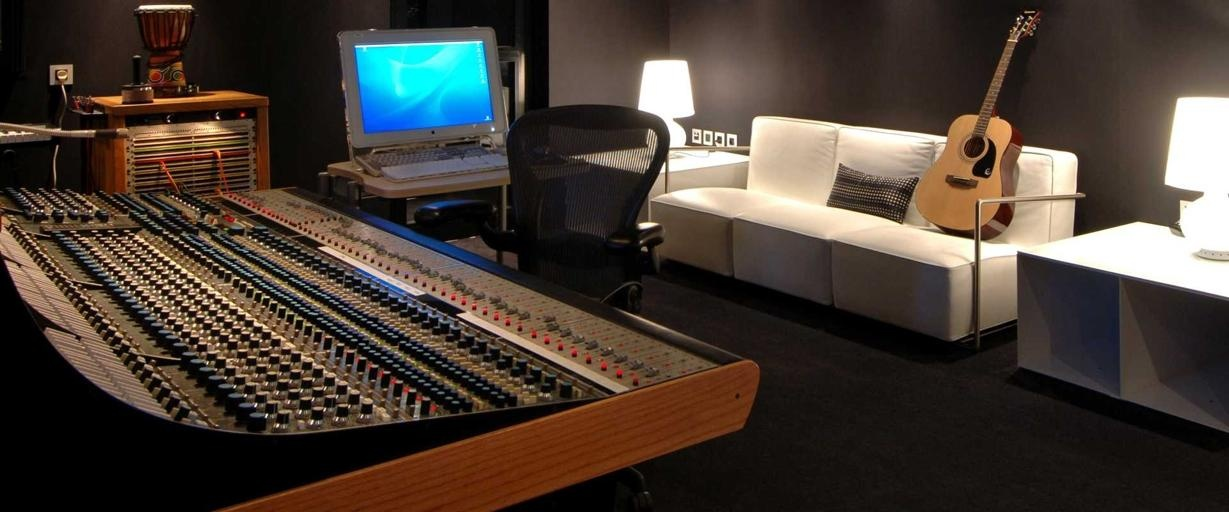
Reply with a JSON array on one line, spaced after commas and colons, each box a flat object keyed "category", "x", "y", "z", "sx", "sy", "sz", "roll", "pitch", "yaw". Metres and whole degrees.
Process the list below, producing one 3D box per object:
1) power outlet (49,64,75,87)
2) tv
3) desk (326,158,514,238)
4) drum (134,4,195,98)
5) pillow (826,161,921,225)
[{"category": "power outlet", "x": -4.868, "y": -1.602, "z": 6.918, "sx": 0.259, "sy": 0.181, "sz": 0.055, "roll": -5, "pitch": 12, "yaw": -27}, {"category": "tv", "x": -1.533, "y": -1.364, "z": 6.403, "sx": 1.509, "sy": 0.844, "sz": 0.107, "roll": -7, "pitch": 5, "yaw": -20}, {"category": "desk", "x": -1.464, "y": -0.582, "z": 6.394, "sx": 1.055, "sy": 0.627, "sz": 1.025, "roll": -6, "pitch": 12, "yaw": -41}, {"category": "drum", "x": -3.808, "y": -1.786, "z": 6.777, "sx": 0.454, "sy": 0.728, "sz": 0.550, "roll": -10, "pitch": 26, "yaw": -23}, {"category": "pillow", "x": 2.463, "y": -0.588, "z": 7.349, "sx": 0.830, "sy": 0.490, "sz": 0.215, "roll": 17, "pitch": -8, "yaw": 37}]
